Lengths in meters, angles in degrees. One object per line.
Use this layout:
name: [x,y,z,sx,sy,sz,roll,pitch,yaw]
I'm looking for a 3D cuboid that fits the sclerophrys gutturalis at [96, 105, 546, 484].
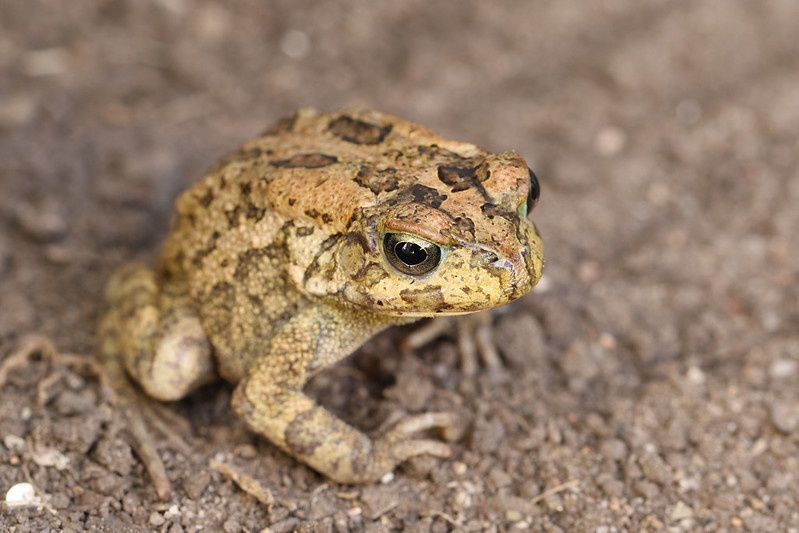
sclerophrys gutturalis: [-0.460,-0.114,4.626,2.077,1.428,2.080,-12,43,-18]
